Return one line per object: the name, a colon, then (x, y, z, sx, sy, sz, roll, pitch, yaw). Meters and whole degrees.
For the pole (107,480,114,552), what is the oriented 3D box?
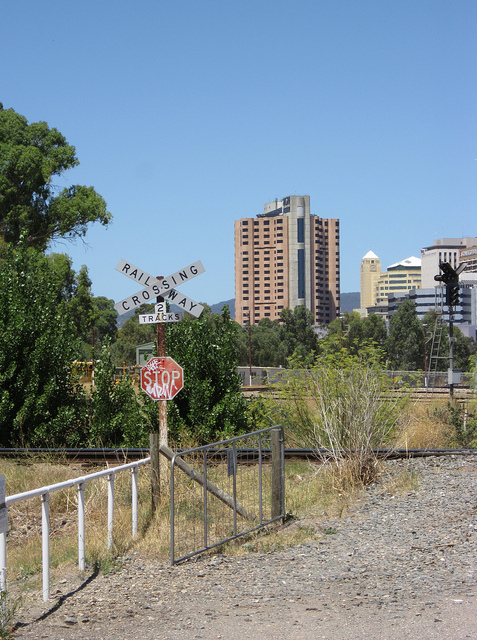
pole: (-1.394, 2.120, 10.632, 0.073, 0.747, 0.152, -2, 2, -8)

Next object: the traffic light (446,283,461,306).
traffic light: (5.868, -0.691, 27.055, 0.347, 0.625, 1.037, -1, 3, 12)

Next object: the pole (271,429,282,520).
pole: (0.451, 1.906, 12.081, 0.123, 1.050, 0.372, -1, 3, 13)

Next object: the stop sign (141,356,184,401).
stop sign: (-0.985, 0.754, 12.549, 0.528, 0.530, 0.346, -2, 3, 1)

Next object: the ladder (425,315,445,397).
ladder: (12.267, 2.264, 61.577, 0.874, 5.119, 0.712, -1, -1, -12)

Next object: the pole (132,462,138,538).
pole: (-1.189, 2.092, 11.244, 0.061, 0.764, 0.272, -2, 2, -6)

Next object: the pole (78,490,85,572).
pole: (-1.586, 2.129, 9.919, 0.065, 0.790, 0.251, -2, 2, -10)

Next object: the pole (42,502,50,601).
pole: (-1.809, 2.178, 9.220, 0.066, 0.884, 0.223, -2, 3, -12)
